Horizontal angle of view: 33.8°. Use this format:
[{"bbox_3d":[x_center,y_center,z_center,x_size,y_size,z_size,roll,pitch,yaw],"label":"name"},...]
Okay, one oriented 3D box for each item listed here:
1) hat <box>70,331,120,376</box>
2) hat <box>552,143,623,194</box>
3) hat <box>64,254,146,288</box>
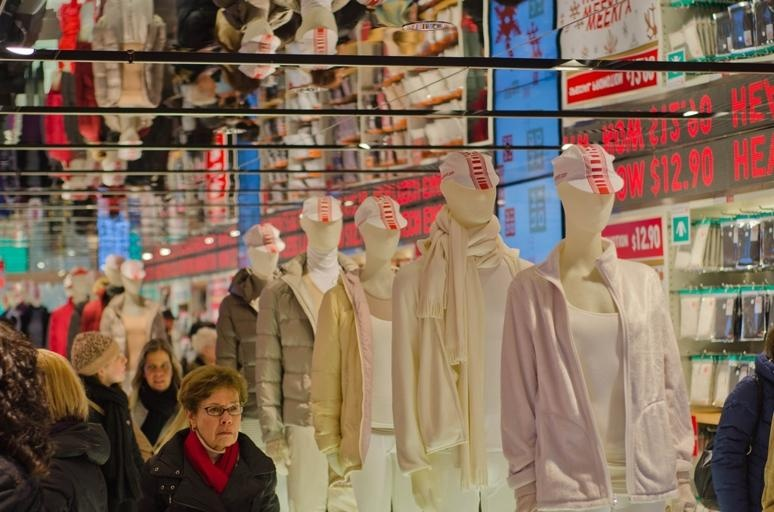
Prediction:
[{"bbox_3d":[-2.072,0.663,8.993,0.321,0.271,0.246,-43,8,6],"label":"hat"},{"bbox_3d":[1.160,-0.490,7.291,0.259,0.190,0.348,-5,12,-24],"label":"hat"},{"bbox_3d":[-2.564,0.139,11.510,0.535,0.219,0.309,-8,6,-15],"label":"hat"}]
